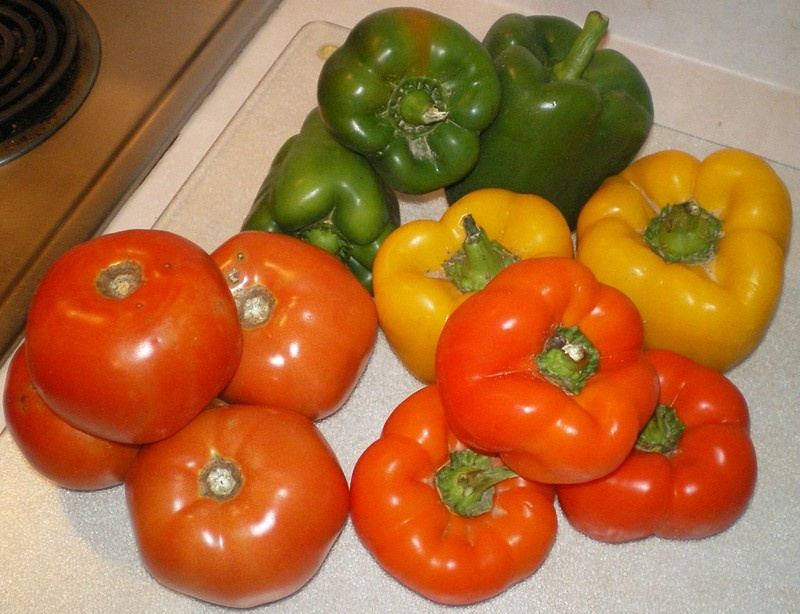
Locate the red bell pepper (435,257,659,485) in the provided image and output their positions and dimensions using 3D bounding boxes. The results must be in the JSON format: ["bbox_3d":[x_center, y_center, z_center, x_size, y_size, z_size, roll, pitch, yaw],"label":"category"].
[{"bbox_3d":[0.286,0.108,1.487,0.426,0.179,0.376,23,65,9],"label":"red bell pepper"}]

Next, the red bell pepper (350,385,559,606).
[{"bbox_3d":[0.113,0.345,1.565,0.398,0.241,0.426,28,82,8],"label":"red bell pepper"}]

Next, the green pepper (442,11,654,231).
[{"bbox_3d":[0.397,-0.440,1.990,0.406,0.544,0.437,7,41,12],"label":"green pepper"}]

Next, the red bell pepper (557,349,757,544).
[{"bbox_3d":[0.572,0.302,1.707,0.396,0.211,0.451,9,46,26],"label":"red bell pepper"}]
